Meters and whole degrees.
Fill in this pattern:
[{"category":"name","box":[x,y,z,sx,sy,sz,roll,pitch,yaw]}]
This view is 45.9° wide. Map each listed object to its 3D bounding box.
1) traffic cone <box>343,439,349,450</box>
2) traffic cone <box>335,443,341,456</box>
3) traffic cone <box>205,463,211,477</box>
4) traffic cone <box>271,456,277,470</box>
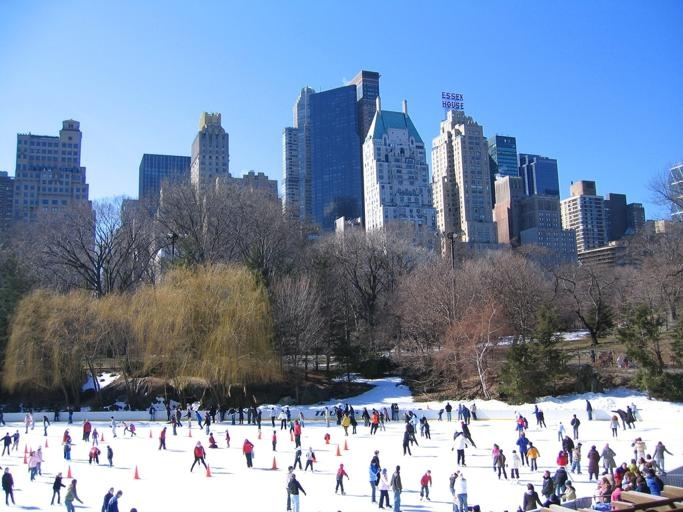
[{"category":"traffic cone","box":[0.252,13.535,58.073,0.464,0.732,0.490,-2,0,7]},{"category":"traffic cone","box":[-0.238,13.655,56.673,0.414,0.673,0.456,0,-10,1]},{"category":"traffic cone","box":[-8.866,14.007,53.490,0.391,0.825,1.247,-2,4,-11]},{"category":"traffic cone","box":[-4.549,13.959,54.646,0.541,0.891,0.589,1,-4,2]}]
